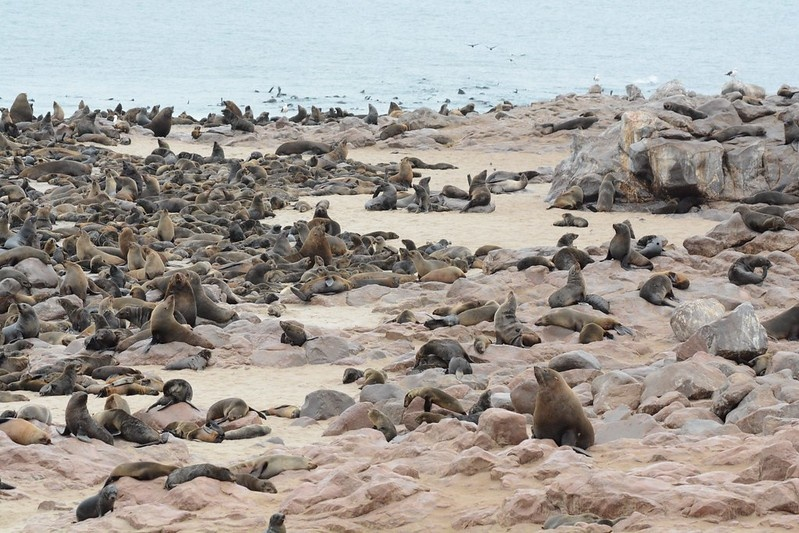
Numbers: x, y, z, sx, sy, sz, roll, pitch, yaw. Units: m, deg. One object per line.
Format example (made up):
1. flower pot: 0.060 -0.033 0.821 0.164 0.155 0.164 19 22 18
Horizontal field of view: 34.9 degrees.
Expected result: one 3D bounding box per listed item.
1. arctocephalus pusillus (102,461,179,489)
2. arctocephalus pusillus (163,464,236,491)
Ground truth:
1. arctocephalus pusillus: -4.650 3.716 22.823 1.511 0.354 0.439 1 13 1
2. arctocephalus pusillus: -3.576 3.713 22.758 0.901 0.229 0.517 -1 9 0
